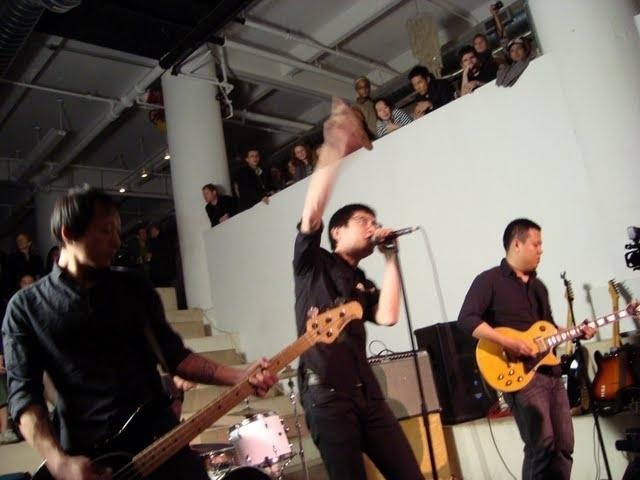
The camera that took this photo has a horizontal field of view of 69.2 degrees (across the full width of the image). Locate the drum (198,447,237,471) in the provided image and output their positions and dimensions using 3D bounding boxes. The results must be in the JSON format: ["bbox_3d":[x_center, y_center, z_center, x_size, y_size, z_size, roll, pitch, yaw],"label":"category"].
[{"bbox_3d":[-0.709,1.546,3.239,0.270,0.136,0.226,-18,-15,26],"label":"drum"}]

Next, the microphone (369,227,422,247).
[{"bbox_3d":[0.571,-0.028,3.414,0.321,0.088,0.076,-21,-7,38],"label":"microphone"}]
